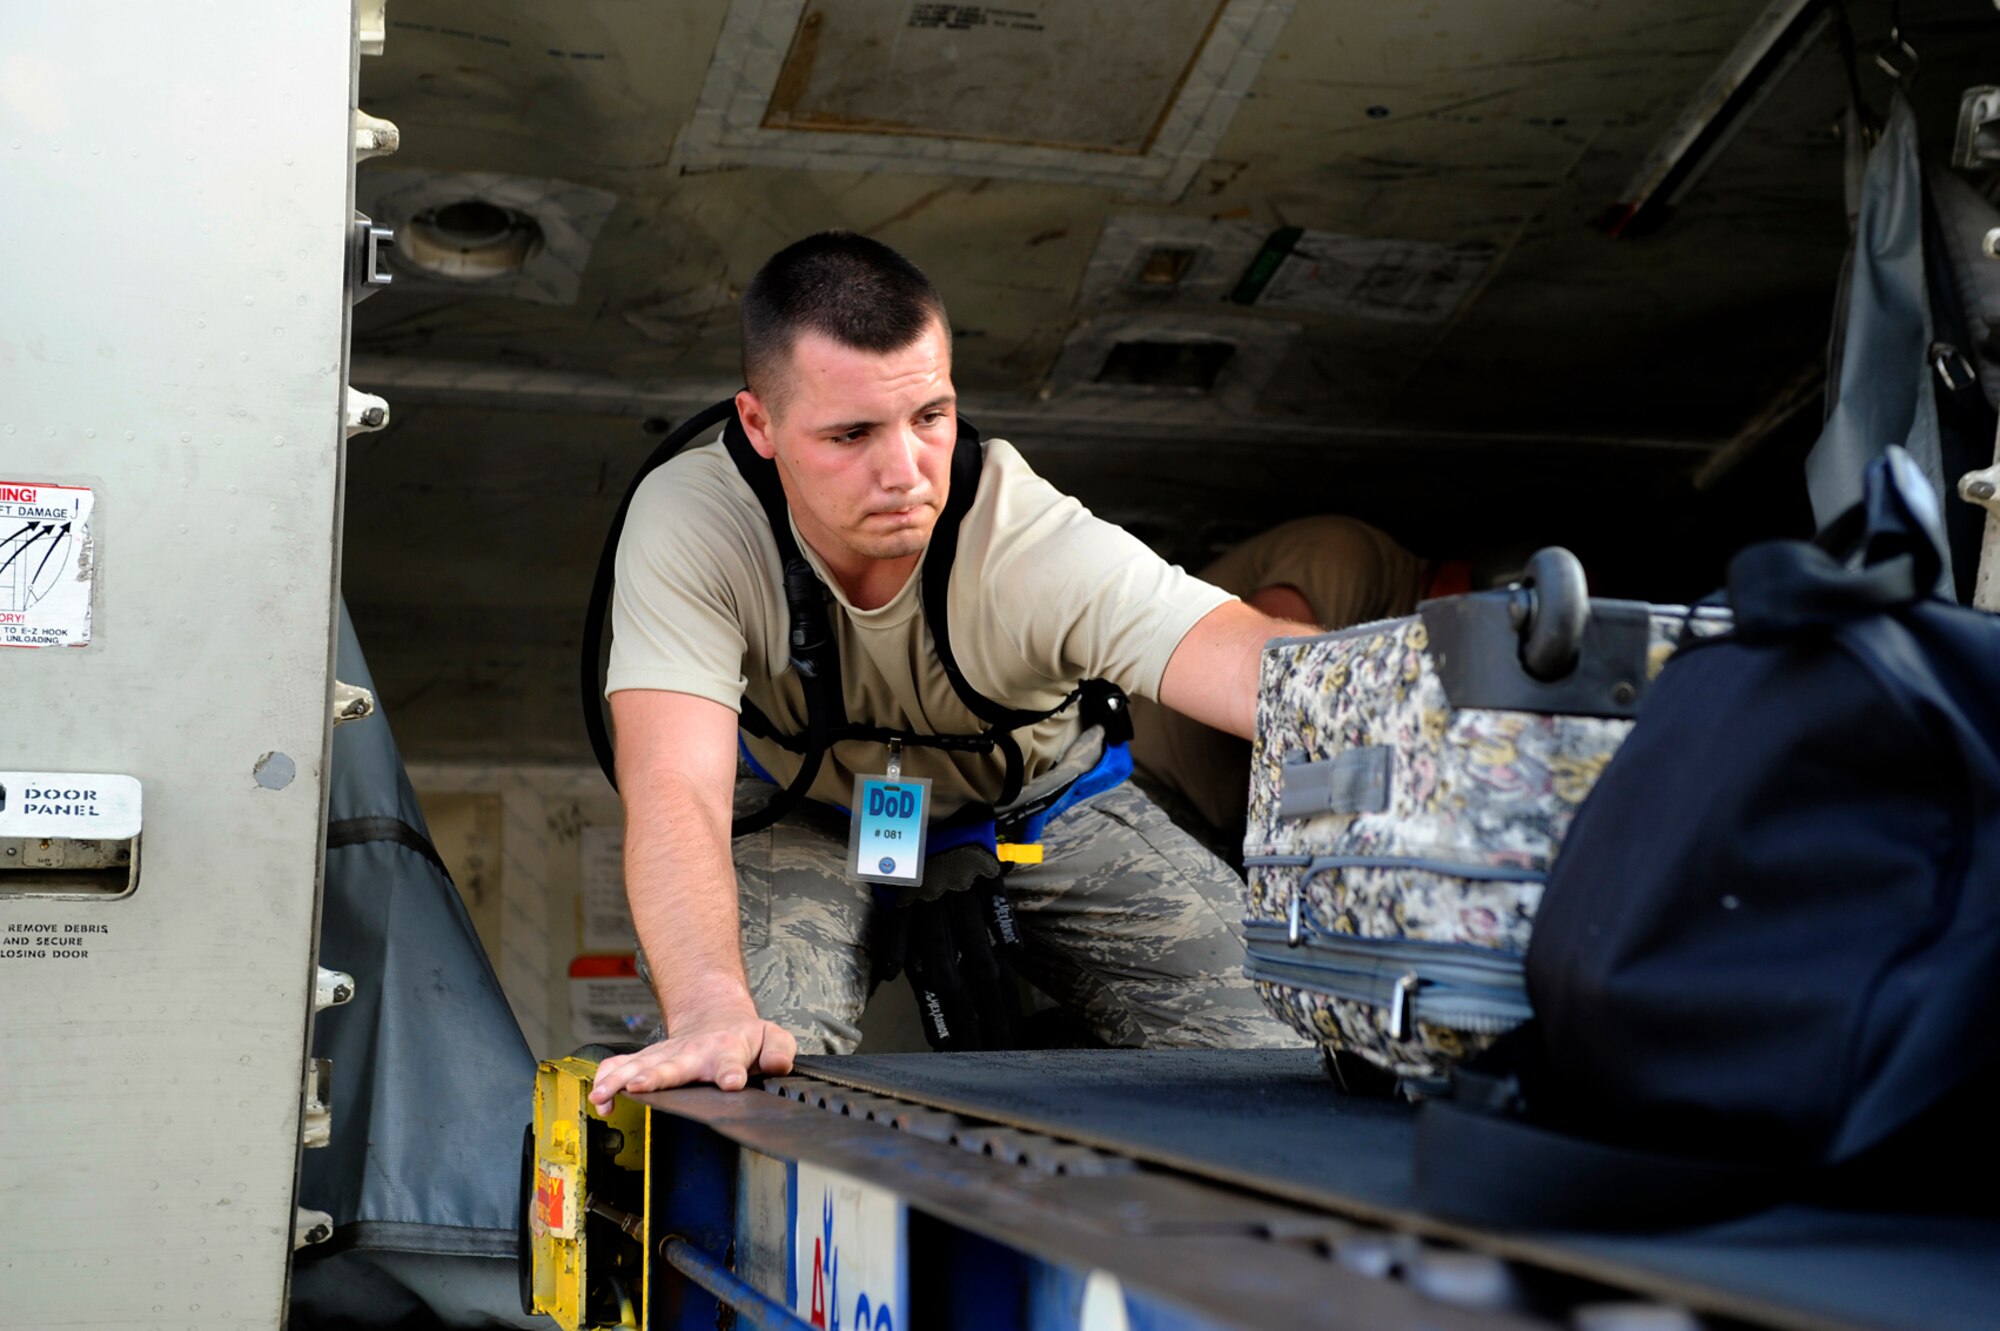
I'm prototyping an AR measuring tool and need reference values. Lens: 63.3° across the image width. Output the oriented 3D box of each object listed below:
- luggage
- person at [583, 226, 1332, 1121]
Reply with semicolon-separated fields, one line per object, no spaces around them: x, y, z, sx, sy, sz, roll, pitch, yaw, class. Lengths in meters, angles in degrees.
0.564;0.160;1.666;0.465;0.517;0.573;8;-9;-18;luggage
-0.092;0.011;2.770;1.132;1.458;1.678;-1;-5;9;person
